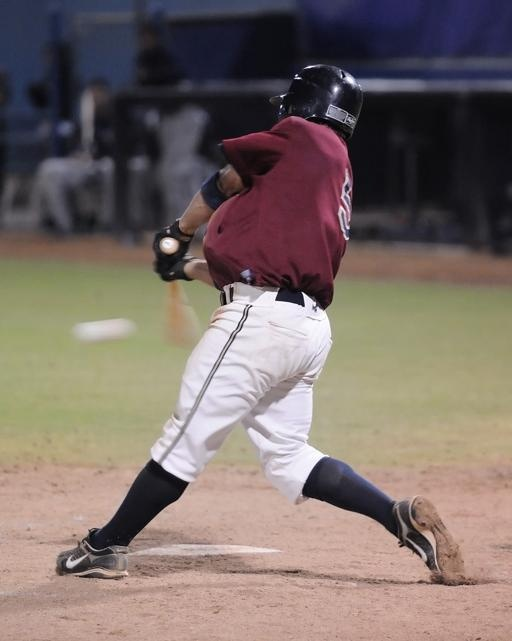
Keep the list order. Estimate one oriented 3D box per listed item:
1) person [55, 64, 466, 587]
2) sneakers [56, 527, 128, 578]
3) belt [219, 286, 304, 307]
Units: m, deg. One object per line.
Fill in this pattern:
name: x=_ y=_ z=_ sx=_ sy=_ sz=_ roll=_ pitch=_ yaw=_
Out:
person: x=0.029 y=0.018 z=2.842 sx=1.180 sy=1.595 sz=0.458 roll=1 pitch=7 yaw=8
sneakers: x=-0.491 y=0.727 z=2.928 sx=0.308 sy=0.111 sz=0.102 roll=1 pitch=-3 yaw=23
belt: x=0.018 y=-0.071 z=2.714 sx=0.145 sy=0.028 sz=0.092 roll=5 pitch=-8 yaw=1
